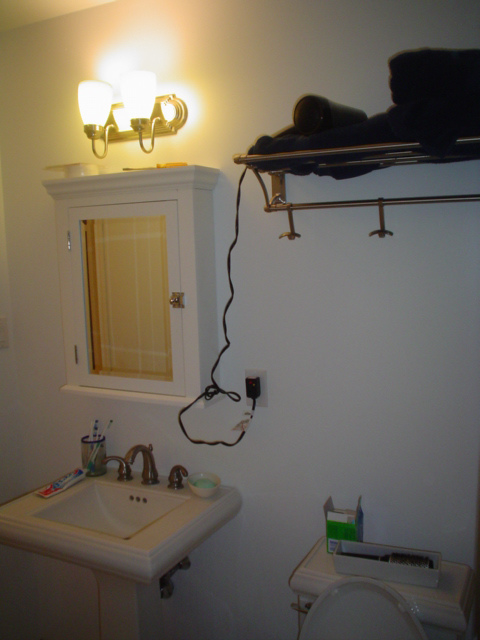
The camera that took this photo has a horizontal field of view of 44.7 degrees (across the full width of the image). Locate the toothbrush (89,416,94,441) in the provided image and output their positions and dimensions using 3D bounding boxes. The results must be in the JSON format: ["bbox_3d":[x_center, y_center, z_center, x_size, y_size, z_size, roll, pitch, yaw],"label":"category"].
[{"bbox_3d":[-0.485,0.354,1.896,0.020,0.080,0.007,5,2,-6],"label":"toothbrush"}]

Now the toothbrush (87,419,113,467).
[{"bbox_3d":[-0.441,0.388,1.838,0.038,0.113,0.121,-3,7,17],"label":"toothbrush"}]

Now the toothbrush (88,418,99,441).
[{"bbox_3d":[-0.471,0.351,1.872,0.024,0.095,0.024,4,-9,26],"label":"toothbrush"}]

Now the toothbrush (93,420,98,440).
[{"bbox_3d":[-0.456,0.351,1.844,0.012,0.059,0.014,4,2,-7],"label":"toothbrush"}]
